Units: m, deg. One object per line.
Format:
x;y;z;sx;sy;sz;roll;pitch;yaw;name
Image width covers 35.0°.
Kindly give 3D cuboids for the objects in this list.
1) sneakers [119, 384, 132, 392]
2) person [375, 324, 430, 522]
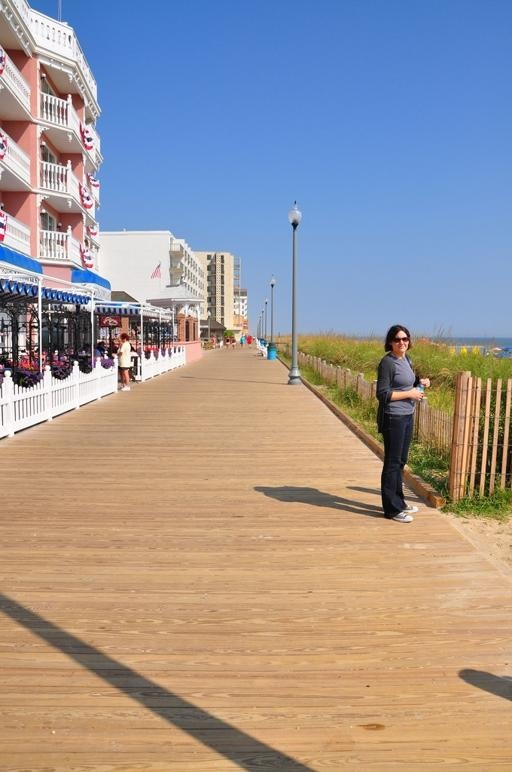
-3.446;0.047;20.763;0.465;0.208;0.164;3;0;13;sneakers
1.207;0.301;6.787;0.422;1.630;0.684;1;7;12;person
